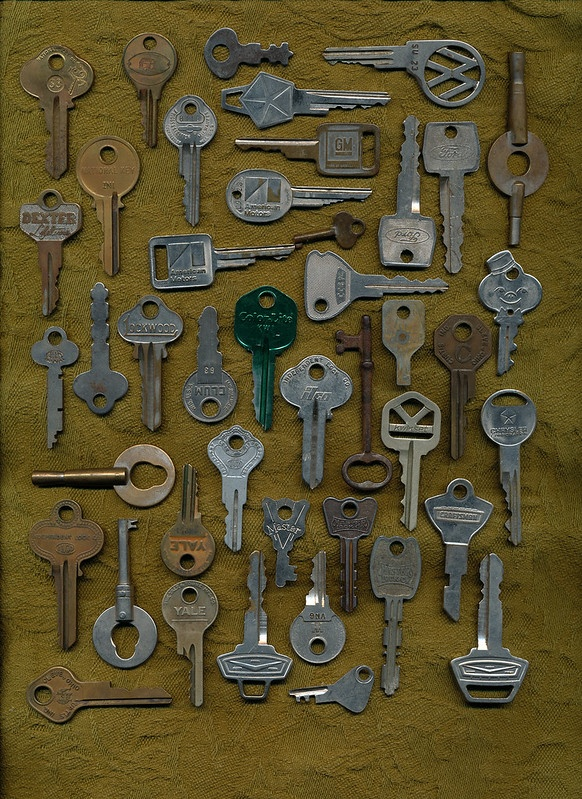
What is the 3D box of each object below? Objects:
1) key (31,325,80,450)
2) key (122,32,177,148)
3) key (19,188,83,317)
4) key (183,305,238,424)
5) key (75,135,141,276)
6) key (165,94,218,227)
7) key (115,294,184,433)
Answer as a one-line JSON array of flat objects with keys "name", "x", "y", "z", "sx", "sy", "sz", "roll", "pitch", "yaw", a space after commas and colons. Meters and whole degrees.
[{"name": "key", "x": -0.525, "y": -0.027, "z": 2.635, "sx": 0.090, "sy": 0.258, "sz": 0.089, "roll": -5, "pitch": 20, "yaw": -28}, {"name": "key", "x": -0.320, "y": -0.689, "z": 2.641, "sx": 0.101, "sy": 0.238, "sz": 0.074, "roll": 17, "pitch": 21, "yaw": 35}, {"name": "key", "x": -0.544, "y": -0.329, "z": 2.649, "sx": 0.111, "sy": 0.267, "sz": 0.090, "roll": 18, "pitch": 22, "yaw": 37}, {"name": "key", "x": -0.184, "y": -0.070, "z": 2.604, "sx": 0.107, "sy": 0.243, "sz": 0.084, "roll": 19, "pitch": 22, "yaw": 38}, {"name": "key", "x": -0.413, "y": -0.433, "z": 2.646, "sx": 0.128, "sy": 0.293, "sz": 0.091, "roll": 16, "pitch": 20, "yaw": 32}, {"name": "key", "x": -0.227, "y": -0.523, "z": 2.637, "sx": 0.122, "sy": 0.286, "sz": 0.010, "roll": 3, "pitch": 14, "yaw": 9}, {"name": "key", "x": -0.329, "y": -0.083, "z": 2.630, "sx": 0.130, "sy": 0.281, "sz": 0.092, "roll": 13, "pitch": 19, "yaw": 24}]
